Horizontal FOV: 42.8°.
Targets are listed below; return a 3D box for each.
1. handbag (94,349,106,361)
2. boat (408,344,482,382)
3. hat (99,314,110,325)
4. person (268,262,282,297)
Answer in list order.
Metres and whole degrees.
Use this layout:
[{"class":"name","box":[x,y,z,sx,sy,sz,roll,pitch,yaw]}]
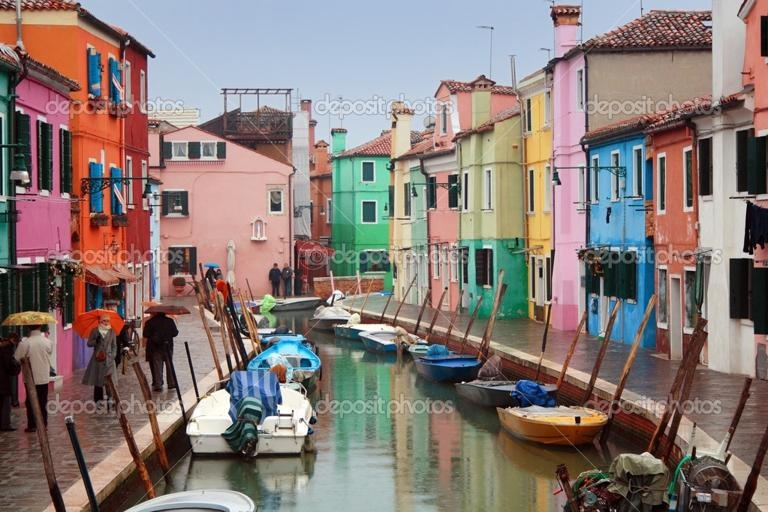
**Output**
[{"class":"handbag","box":[-7.778,2.724,26.897,0.224,0.327,0.104,1,2,-3]},{"class":"boat","box":[2.347,4.096,37.520,1.657,1.315,3.583,-3,1,-20]},{"class":"hat","box":[-7.793,1.774,27.369,0.258,0.283,0.217,-5,2,13]},{"class":"person","box":[-7.160,1.573,64.860,0.842,1.442,0.937,-3,2,-15]}]
